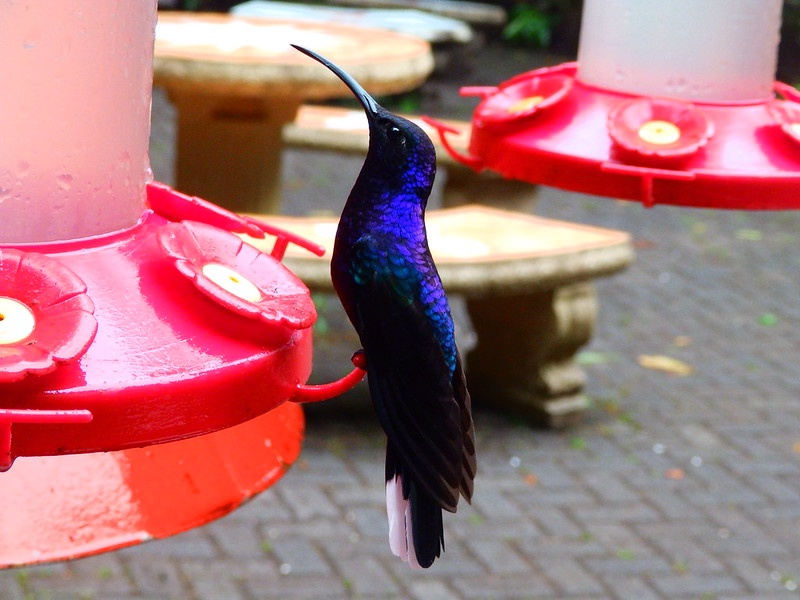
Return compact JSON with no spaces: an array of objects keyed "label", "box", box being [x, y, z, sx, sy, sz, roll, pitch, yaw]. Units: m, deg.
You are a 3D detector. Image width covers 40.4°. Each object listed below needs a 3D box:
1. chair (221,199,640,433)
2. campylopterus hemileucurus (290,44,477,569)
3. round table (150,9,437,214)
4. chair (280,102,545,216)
[{"label":"chair","box":[0.476,0.070,5.152,1.505,0.683,1.128,5,18,-8]},{"label":"campylopterus hemileucurus","box":[0.017,0.011,1.792,0.236,0.739,0.453,-4,31,-8]},{"label":"round table","box":[-0.686,-0.945,5.333,1.224,0.663,1.183,8,8,-1]},{"label":"chair","box":[-0.040,-0.832,6.500,1.726,0.394,0.809,14,31,-6]}]
